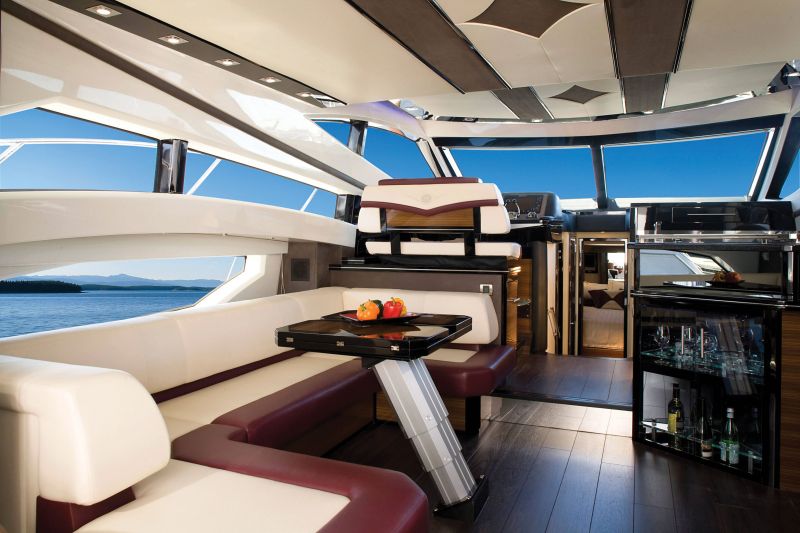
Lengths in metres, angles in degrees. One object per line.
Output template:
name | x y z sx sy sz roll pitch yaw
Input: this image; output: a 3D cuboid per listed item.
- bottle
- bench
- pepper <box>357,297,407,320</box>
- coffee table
bottle | 2.000 1.018 3.069 0.147 0.399 0.549 -11 15 -44
bench | 0.303 -0.398 4.116 1.317 0.623 0.236 3 12 15
pepper | -0.111 0.240 2.796 0.239 0.114 0.131 -2 -4 -27
coffee table | 0.042 0.827 3.036 1.149 1.079 1.302 -8 7 39
